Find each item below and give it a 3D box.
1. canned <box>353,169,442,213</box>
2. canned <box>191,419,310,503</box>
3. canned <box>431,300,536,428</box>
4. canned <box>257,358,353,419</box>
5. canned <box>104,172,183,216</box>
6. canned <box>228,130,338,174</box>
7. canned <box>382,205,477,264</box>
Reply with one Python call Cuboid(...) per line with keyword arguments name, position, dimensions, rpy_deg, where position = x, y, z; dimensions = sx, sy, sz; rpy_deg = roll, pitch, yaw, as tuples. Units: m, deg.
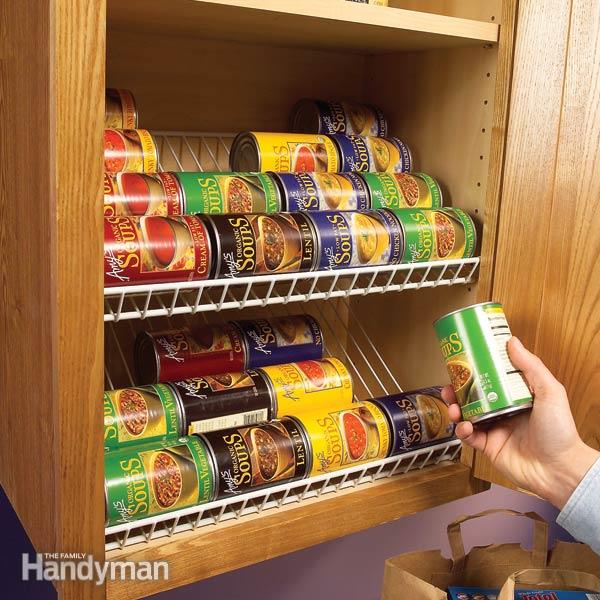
Cuboid(name="canned", position=(0.171, -0.193, 0.949), dimensions=(0.168, 0.093, 0.098), rpy_deg=(-11, 23, -29))
Cuboid(name="canned", position=(-0.068, 0.214, 0.753), dimensions=(0.182, 0.099, 0.100), rpy_deg=(-8, -13, -29))
Cuboid(name="canned", position=(0.245, 0.079, 0.706), dimensions=(0.074, 0.142, 0.107), rpy_deg=(-11, 21, -23))
Cuboid(name="canned", position=(0.002, 0.127, 0.939), dimensions=(0.179, 0.099, 0.103), rpy_deg=(-9, 25, -21))
Cuboid(name="canned", position=(-0.214, -0.142, 0.731), dimensions=(0.105, 0.058, 0.048), rpy_deg=(-9, 20, -20))
Cuboid(name="canned", position=(-0.027, -0.251, 0.923), dimensions=(0.131, 0.072, 0.076), rpy_deg=(-1, 2, -26))
Cuboid(name="canned", position=(0.207, -0.103, 0.873), dimensions=(0.097, 0.053, 0.055), rpy_deg=(-9, -4, -25))
